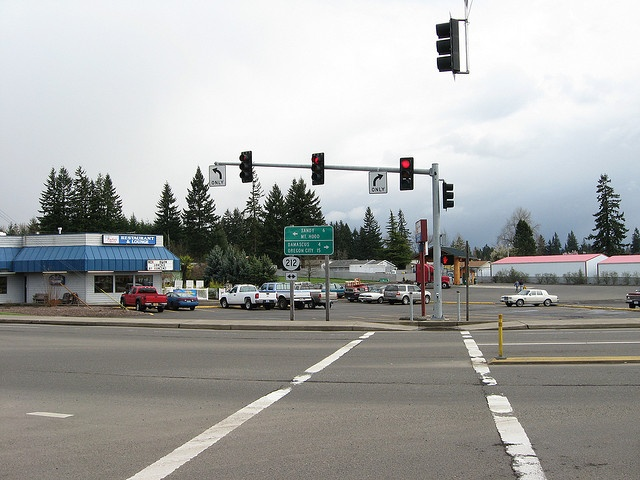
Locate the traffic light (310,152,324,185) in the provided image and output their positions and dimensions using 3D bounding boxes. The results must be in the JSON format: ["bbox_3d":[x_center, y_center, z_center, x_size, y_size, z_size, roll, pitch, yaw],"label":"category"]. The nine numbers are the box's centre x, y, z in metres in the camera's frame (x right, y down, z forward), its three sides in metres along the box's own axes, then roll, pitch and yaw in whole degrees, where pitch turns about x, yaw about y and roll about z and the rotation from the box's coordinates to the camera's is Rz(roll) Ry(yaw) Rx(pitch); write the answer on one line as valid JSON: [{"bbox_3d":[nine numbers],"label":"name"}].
[{"bbox_3d":[-0.074,-2.620,26.997,0.465,0.865,0.465,-1,0,-2],"label":"traffic light"}]

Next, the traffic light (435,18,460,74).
[{"bbox_3d":[3.185,-4.945,18.189,0.569,1.391,1.354,-1,0,10],"label":"traffic light"}]

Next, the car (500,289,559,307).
[{"bbox_3d":[14.264,3.942,49.504,3.629,1.069,1.675,-1,0,-11],"label":"car"}]

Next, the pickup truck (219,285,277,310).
[{"bbox_3d":[-4.465,3.793,47.799,3.454,1.405,1.652,2,0,45],"label":"pickup truck"}]

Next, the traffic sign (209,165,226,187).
[{"bbox_3d":[-3.781,-2.401,26.797,0.588,0.711,2.443,-1,0,-9],"label":"traffic sign"}]

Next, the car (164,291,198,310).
[{"bbox_3d":[-9.011,3.957,47.450,1.856,1.097,2.341,-1,0,-13],"label":"car"}]

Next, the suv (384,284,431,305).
[{"bbox_3d":[6.309,4.147,51.143,3.354,1.411,1.915,-3,2,-15],"label":"suv"}]

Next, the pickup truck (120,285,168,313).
[{"bbox_3d":[-10.880,3.575,44.870,1.403,1.100,2.691,3,0,-37],"label":"pickup truck"}]

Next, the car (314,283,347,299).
[{"bbox_3d":[1.258,3.973,57.159,1.192,0.975,2.371,0,1,35],"label":"car"}]

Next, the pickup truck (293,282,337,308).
[{"bbox_3d":[-0.405,3.693,47.940,1.494,1.121,2.985,0,1,-24],"label":"pickup truck"}]

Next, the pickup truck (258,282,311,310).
[{"bbox_3d":[-1.981,3.495,46.435,1.590,1.248,3.037,2,1,-41],"label":"pickup truck"}]
